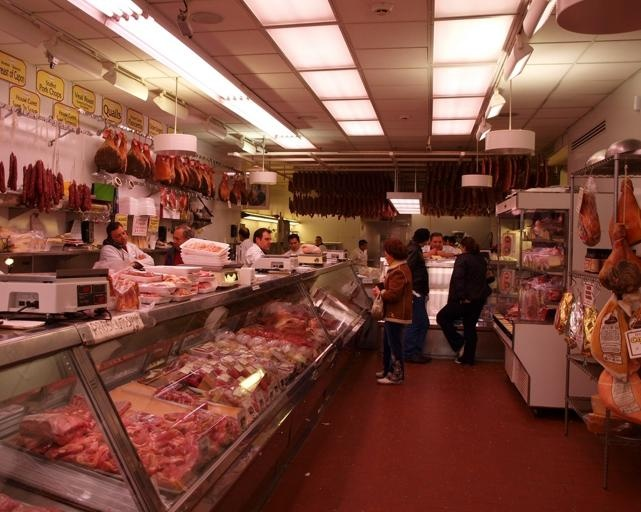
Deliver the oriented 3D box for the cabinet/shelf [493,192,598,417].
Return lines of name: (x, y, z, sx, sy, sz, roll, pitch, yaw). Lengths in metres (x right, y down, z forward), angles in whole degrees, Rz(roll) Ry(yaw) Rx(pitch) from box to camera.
cabinet/shelf: (2.221, 0.502, 4.552, 0.836, 2.206, 2.368, 0, -1, 17)

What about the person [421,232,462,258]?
person: (2.095, -0.131, 8.307, 0.557, 0.260, 0.774, -2, -5, 0)

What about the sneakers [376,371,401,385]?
sneakers: (0.797, 1.432, 5.510, 0.336, 0.138, 0.112, 4, -1, 2)

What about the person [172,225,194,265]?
person: (-1.964, -0.159, 6.591, 0.252, 0.563, 1.010, 1, 2, -17)

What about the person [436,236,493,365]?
person: (2.036, 0.608, 6.618, 0.723, 1.760, 0.435, 2, 1, 3)

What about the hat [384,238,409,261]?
hat: (0.872, -0.078, 5.408, 0.267, 0.245, 0.217, 1, 2, 0)

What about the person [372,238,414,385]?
person: (0.842, 0.642, 5.465, 0.424, 1.687, 0.494, 2, 1, 5)

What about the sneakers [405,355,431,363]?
sneakers: (1.394, 1.469, 6.643, 0.339, 0.140, 0.127, -1, -1, 6)

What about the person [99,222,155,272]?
person: (-2.359, 0.022, 5.678, 0.677, 0.811, 0.663, -3, 6, -27)
